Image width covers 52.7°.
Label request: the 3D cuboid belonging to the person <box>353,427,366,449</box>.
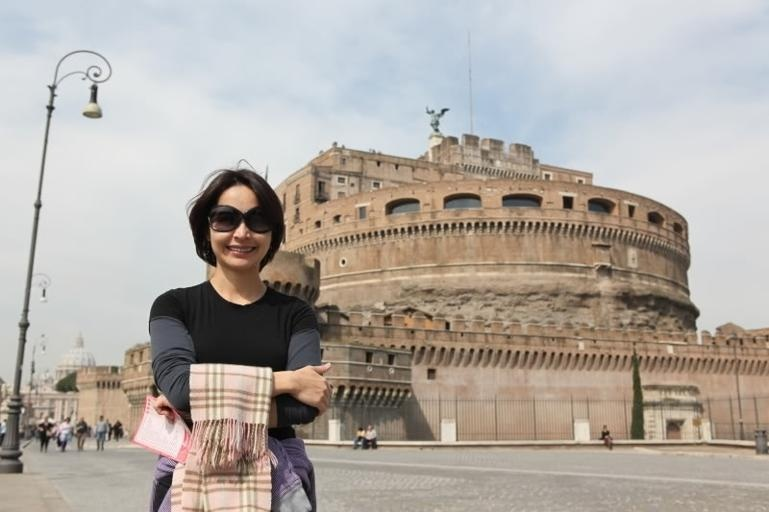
[{"bbox_3d":[-1.007,7.325,30.515,0.458,0.709,1.418,0,-11,-3],"label":"person"}]

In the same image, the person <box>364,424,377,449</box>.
[{"bbox_3d":[-0.584,7.235,30.298,0.469,0.859,1.157,-1,-11,3],"label":"person"}]
